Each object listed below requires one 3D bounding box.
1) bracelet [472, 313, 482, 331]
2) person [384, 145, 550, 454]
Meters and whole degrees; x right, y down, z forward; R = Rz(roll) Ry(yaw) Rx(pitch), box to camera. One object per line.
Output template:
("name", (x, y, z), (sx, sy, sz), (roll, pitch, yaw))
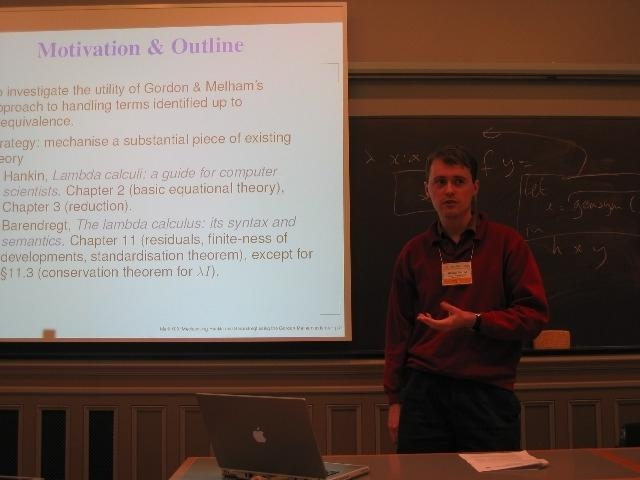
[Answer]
("bracelet", (0.756, 0.405, 2.910), (0.055, 0.086, 0.038), (-1, 6, 3))
("person", (0.723, 0.300, 3.041), (0.802, 1.522, 0.395), (-1, 6, 6))
